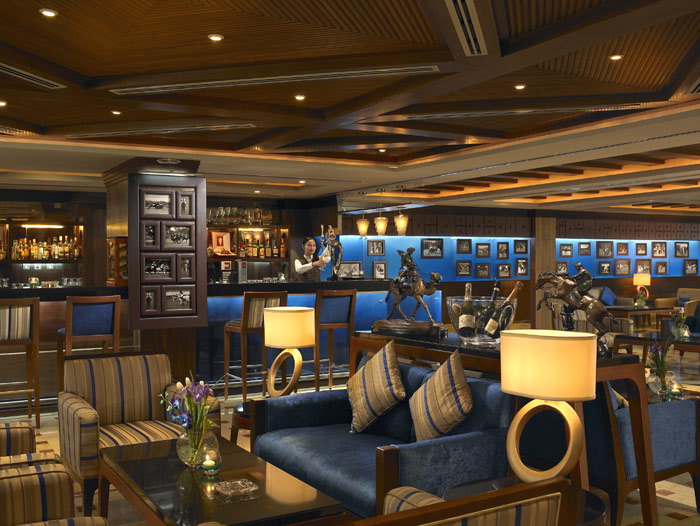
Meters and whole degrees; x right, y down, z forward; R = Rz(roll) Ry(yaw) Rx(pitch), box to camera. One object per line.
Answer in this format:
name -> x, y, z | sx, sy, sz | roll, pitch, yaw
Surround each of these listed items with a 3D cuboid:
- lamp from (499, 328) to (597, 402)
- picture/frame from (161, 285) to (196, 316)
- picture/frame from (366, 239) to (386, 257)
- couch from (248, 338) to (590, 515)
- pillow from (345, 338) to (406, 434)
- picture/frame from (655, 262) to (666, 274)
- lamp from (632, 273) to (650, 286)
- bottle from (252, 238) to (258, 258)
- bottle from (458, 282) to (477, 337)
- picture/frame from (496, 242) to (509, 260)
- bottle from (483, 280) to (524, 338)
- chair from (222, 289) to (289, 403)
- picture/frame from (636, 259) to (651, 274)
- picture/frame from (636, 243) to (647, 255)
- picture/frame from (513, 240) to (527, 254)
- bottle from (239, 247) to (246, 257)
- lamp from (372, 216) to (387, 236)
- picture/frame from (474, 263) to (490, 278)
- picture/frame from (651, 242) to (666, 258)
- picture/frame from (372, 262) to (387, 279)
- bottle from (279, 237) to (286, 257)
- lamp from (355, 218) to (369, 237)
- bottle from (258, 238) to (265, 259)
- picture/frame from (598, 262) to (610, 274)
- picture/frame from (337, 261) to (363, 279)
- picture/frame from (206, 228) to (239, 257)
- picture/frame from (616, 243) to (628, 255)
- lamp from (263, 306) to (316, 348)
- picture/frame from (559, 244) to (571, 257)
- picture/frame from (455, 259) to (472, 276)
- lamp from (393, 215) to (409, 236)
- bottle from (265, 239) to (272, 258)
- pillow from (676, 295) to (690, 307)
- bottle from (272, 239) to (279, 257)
lamp -> 0.993, 0.503, 2.534 | 0.293, 0.271, 0.491 | 0, -2, -42
picture/frame -> -2.330, 0.511, 6.736 | 0.489, 0.411, 0.030 | 1, -5, -22
picture/frame -> 0.568, -0.323, 11.942 | 0.630, 0.447, 0.338 | 1, 1, -22
couch -> 0.277, 1.158, 3.153 | 1.002, 0.764, 1.728 | 7, -9, -22
pillow -> 0.244, 0.819, 3.786 | 0.138, 0.413, 0.492 | 14, -17, -31
picture/frame -> 9.826, 0.169, 15.919 | 0.451, 0.380, 0.035 | 0, 0, -24
lamp -> 8.161, 0.470, 14.180 | 0.512, 0.338, 0.489 | 1, 0, 32
bottle -> -1.991, -0.290, 10.447 | 0.127, 0.347, 0.134 | 0, -1, 0
bottle -> 0.832, 0.387, 3.600 | 0.124, 0.287, 0.087 | 0, -1, 10
picture/frame -> 4.108, -0.311, 13.531 | 0.352, 0.460, 0.082 | 0, -1, -25
bottle -> 1.055, 0.344, 3.558 | 0.225, 0.347, 0.329 | 0, -1, 15
chair -> -1.325, 1.053, 6.585 | 0.782, 1.230, 0.736 | 4, -8, -17
picture/frame -> 9.065, 0.107, 15.555 | 0.546, 0.458, 0.038 | 0, 0, -22
picture/frame -> 8.974, -0.417, 15.513 | 0.428, 0.375, 0.031 | 0, 3, -15
picture/frame -> 4.583, -0.441, 13.584 | 0.431, 0.342, 0.211 | 1, 5, 0
bottle -> -2.218, -0.208, 10.270 | 0.078, 0.187, 0.188 | -1, -1, 40
lamp -> 0.622, -0.744, 10.182 | 0.187, 0.367, 0.419 | 0, -1, 9
picture/frame -> 3.475, 0.181, 13.422 | 0.546, 0.438, 0.365 | 0, 1, -9
picture/frame -> 9.678, -0.398, 15.809 | 0.611, 0.503, 0.043 | 1, 4, -14
picture/frame -> 0.661, 0.182, 11.780 | 0.479, 0.442, 0.063 | 0, 1, -18
bottle -> -1.431, -0.326, 10.702 | 0.125, 0.441, 0.110 | 0, -1, 33
lamp -> 0.308, -0.712, 10.247 | 0.387, 0.380, 0.356 | 0, 1, -18
bottle -> -1.855, -0.263, 10.480 | 0.126, 0.320, 0.159 | 0, -1, -1
picture/frame -> 7.527, 0.155, 14.911 | 0.396, 0.327, 0.036 | 0, 0, -22
picture/frame -> -0.038, 0.142, 10.504 | 0.417, 0.249, 0.041 | 6, -25, -30
picture/frame -> -2.604, -0.406, 10.101 | 0.799, 0.745, 0.065 | -1, -2, -15
picture/frame -> 8.191, -0.404, 15.178 | 0.426, 0.359, 0.041 | 1, 0, -23
lamp -> -0.485, 0.504, 4.039 | 0.389, 0.216, 0.356 | 1, -2, 0
picture/frame -> 6.128, -0.347, 14.347 | 0.432, 0.346, 0.052 | 0, 0, -18
picture/frame -> 2.926, 0.131, 13.086 | 0.505, 0.416, 0.035 | 1, 2, -12
lamp -> 1.050, -0.798, 10.395 | 0.223, 0.432, 0.800 | 0, -1, 9
bottle -> -1.733, -0.293, 10.556 | 0.124, 0.348, 0.059 | 0, -1, -25
pillow -> 8.224, 0.944, 12.396 | 0.145, 0.337, 0.297 | 3, 4, -17
bottle -> -1.597, -0.273, 10.625 | 0.178, 0.306, 0.053 | 1, -1, -41
